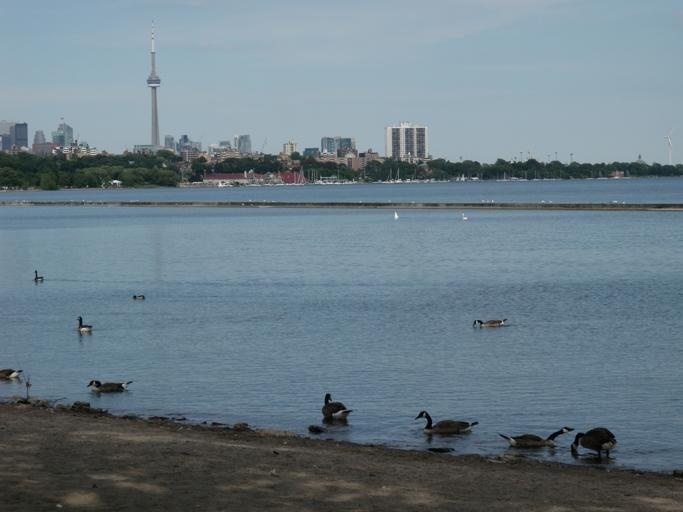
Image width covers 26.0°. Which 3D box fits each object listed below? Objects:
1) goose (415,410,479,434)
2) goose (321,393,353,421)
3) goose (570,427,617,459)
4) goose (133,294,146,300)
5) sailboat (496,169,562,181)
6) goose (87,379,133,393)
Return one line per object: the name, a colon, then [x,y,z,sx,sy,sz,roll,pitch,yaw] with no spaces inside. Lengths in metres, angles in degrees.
goose: [3.953,6.477,56.566,2.559,1.130,0.821,0,-22,6]
goose: [-0.286,6.040,57.932,0.791,0.764,1.342,2,-1,-29]
goose: [9.425,6.885,54.868,0.892,1.067,1.916,1,-17,-32]
goose: [-11.038,2.316,80.654,0.733,0.279,1.861,0,-1,-8]
sailboat: [74.030,-30.520,584.160,21.357,2.808,16.955,0,-1,-6]
goose: [-9.608,5.364,60.380,1.865,0.835,0.591,-6,-8,12]
